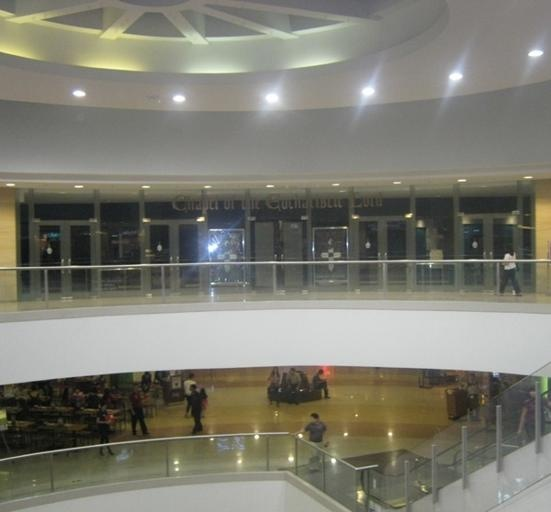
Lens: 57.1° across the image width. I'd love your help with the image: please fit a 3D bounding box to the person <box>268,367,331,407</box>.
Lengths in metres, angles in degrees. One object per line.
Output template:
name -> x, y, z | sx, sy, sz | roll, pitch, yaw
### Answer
person -> 0.765, 4.696, 18.182 | 1.522, 1.161, 1.544 | 0, -1, 6
